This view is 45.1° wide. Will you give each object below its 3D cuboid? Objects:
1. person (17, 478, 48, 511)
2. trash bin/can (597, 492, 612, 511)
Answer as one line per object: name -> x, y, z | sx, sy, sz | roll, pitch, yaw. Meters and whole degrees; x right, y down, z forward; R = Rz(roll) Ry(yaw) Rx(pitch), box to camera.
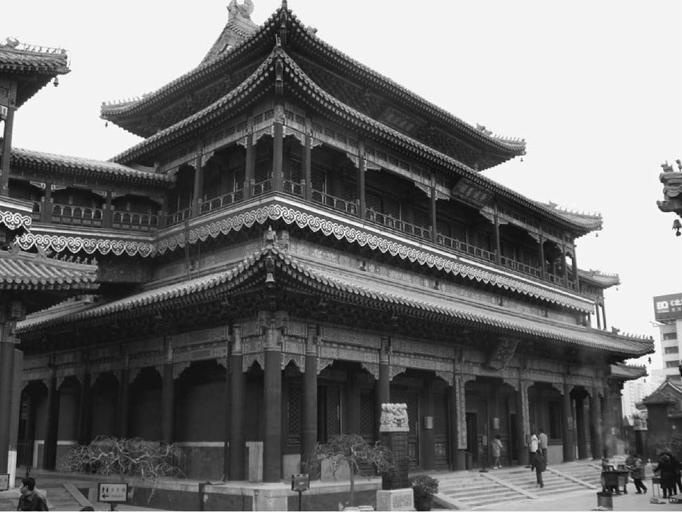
person -> -8.770, 6.759, 23.287 | 0.608, 0.913, 0.893 | 18, -27, -41
trash bin/can -> 9.469, 8.770, 29.473 | 0.502, 0.643, 0.746 | -6, -21, 17
